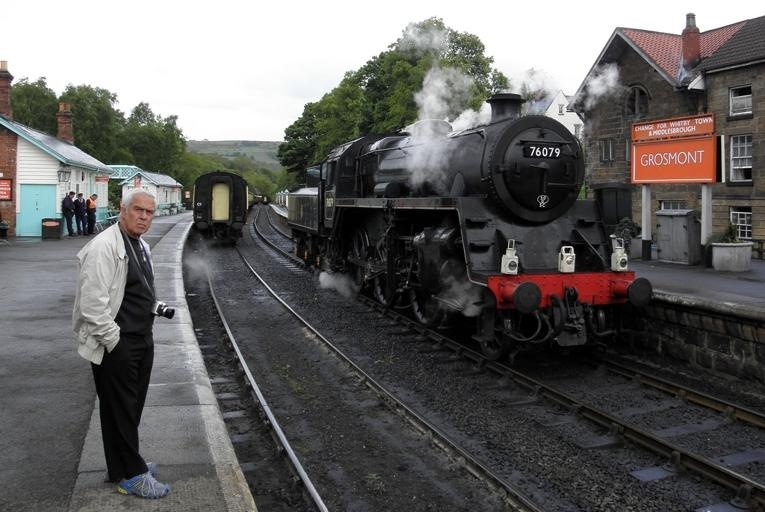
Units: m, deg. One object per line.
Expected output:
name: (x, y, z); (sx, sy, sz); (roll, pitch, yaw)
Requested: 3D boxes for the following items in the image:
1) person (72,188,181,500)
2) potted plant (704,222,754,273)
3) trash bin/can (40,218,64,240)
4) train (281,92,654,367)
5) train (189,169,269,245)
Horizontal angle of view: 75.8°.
person: (-2.068, 0.700, 4.107); (0.709, 2.442, 0.603); (5, 11, 33)
potted plant: (9.390, -0.166, 13.579); (1.199, 1.213, 1.416); (-2, -2, -7)
trash bin/can: (-14.430, -1.165, 21.797); (1.115, 1.112, 0.826); (0, 0, -14)
train: (1.058, -0.844, 12.736); (3.448, 3.993, 11.651); (-1, 7, -18)
train: (-8.344, -2.565, 25.532); (2.548, 3.555, 0.921); (-3, 10, -14)
